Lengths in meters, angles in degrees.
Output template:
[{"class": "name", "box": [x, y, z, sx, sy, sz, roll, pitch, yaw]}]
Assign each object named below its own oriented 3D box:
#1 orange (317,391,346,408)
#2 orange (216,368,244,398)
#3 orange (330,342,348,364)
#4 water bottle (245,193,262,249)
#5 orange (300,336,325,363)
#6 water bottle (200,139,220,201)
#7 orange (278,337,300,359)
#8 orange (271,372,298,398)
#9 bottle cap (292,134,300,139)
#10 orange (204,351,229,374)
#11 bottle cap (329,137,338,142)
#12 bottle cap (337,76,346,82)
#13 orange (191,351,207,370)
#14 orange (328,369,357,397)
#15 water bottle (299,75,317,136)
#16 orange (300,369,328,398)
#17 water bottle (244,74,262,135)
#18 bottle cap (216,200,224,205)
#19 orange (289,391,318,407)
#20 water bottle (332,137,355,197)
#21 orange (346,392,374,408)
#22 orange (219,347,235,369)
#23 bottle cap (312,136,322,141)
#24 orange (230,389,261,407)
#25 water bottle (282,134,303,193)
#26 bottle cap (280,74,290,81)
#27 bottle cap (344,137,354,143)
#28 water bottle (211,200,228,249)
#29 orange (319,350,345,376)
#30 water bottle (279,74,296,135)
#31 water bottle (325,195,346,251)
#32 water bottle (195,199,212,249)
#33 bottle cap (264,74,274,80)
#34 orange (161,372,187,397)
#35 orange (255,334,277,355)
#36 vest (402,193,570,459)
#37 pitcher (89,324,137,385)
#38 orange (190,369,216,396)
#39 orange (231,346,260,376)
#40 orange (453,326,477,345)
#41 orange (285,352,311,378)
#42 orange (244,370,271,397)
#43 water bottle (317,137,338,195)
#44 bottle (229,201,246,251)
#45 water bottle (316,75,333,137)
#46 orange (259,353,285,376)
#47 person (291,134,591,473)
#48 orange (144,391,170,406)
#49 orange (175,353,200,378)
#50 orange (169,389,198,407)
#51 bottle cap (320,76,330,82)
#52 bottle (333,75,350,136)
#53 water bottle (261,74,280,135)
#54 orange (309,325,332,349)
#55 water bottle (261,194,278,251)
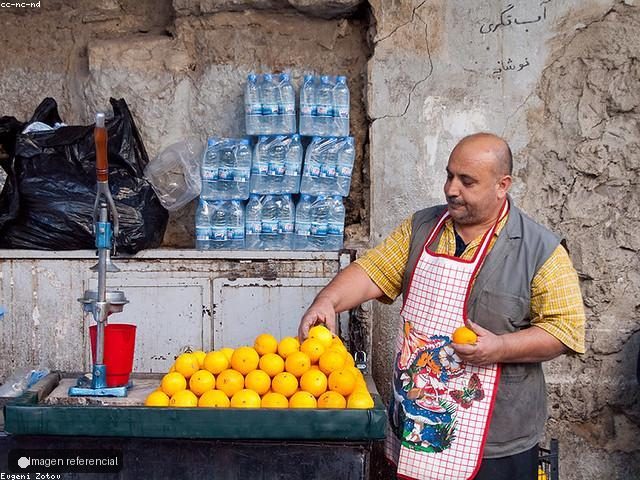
[{"class": "orange", "box": [0.058, 0.740, 4.108, 0.089, 0.087, 0.084, -20, 11, -37]}, {"class": "orange", "box": [-0.432, 0.662, 4.171, 0.088, 0.086, 0.087, -5, -7, 33]}, {"class": "orange", "box": [0.114, 0.564, 4.315, 0.087, 0.102, 0.086, -5, 1, -24]}, {"class": "water bottle", "box": [-0.445, -0.133, 5.868, 0.118, 0.374, 0.064, 2, 0, -5]}, {"class": "orange", "box": [-0.029, 0.533, 4.301, 0.128, 0.111, 0.115, -2, -38, 31]}, {"class": "water bottle", "box": [-0.745, -0.478, 5.885, 0.124, 0.415, 0.101, 2, 0, -7]}, {"class": "orange", "box": [-0.155, 0.534, 4.257, 0.094, 0.102, 0.086, 8, -6, -26]}, {"class": "orange", "box": [-0.166, 0.689, 4.133, 0.111, 0.106, 0.105, 2, 29, 1]}, {"class": "bottle cap", "box": [-0.160, -0.704, 5.884, 0.046, 0.031, 0.036, 2, 0, -15]}, {"class": "orange", "box": [-0.509, 0.592, 4.260, 0.105, 0.102, 0.103, -5, 11, -22]}, {"class": "bottle cap", "box": [0.094, -0.684, 5.882, 0.040, 0.033, 0.033, 6, -20, -39]}, {"class": "bottle cap", "box": [0.152, -1.097, 5.910, 0.045, 0.027, 0.045, 4, 5, 22]}, {"class": "orange", "box": [-0.584, 0.590, 4.254, 0.073, 0.085, 0.072, -3, -29, -3]}, {"class": "orange", "box": [0.110, 0.674, 4.177, 0.126, 0.116, 0.119, 21, 7, 4]}, {"class": "water bottle", "box": [-0.074, -0.924, 5.940, 0.121, 0.416, 0.168, 2, 0, -1]}, {"class": "orange", "box": [-0.043, 0.679, 4.155, 0.121, 0.121, 0.141, 0, -37, -7]}, {"class": "water bottle", "box": [-0.460, -0.930, 5.997, 0.116, 0.409, 0.214, 2, 0, -9]}, {"class": "bottle cap", "box": [-0.672, -0.253, 5.859, 0.033, 0.022, 0.028, 3, 1, 0]}, {"class": "orange", "box": [-0.074, 0.747, 4.128, 0.086, 0.099, 0.083, 0, -18, -40]}, {"class": "water bottle", "box": [0.189, -0.498, 5.900, 0.189, 0.400, 0.097, 2, 0, -35]}, {"class": "orange", "box": [0.197, 0.755, 4.068, 0.083, 0.080, 0.077, 2, -10, -8]}, {"class": "orange", "box": [-0.455, 0.585, 4.320, 0.084, 0.084, 0.096, 1, 44, -5]}, {"class": "bottle cap", "box": [-0.015, -0.692, 5.887, 0.035, 0.026, 0.035, 1, -12, -1]}, {"class": "orange", "box": [-0.355, 0.750, 4.064, 0.091, 0.091, 0.088, 20, -35, 9]}, {"class": "water bottle", "box": [-0.186, -0.520, 5.911, 0.121, 0.395, 0.096, 2, 0, -9]}, {"class": "bottle cap", "box": [-0.238, -1.115, 5.929, 0.049, 0.035, 0.047, -4, 11, -33]}, {"class": "bottle cap", "box": [0.204, -0.683, 5.886, 0.065, 0.031, 0.053, 2, 0, -20]}, {"class": "water bottle", "box": [-0.672, -0.110, 5.826, 0.115, 0.326, 0.134, 2, 0, -7]}, {"class": "orange", "box": [0.054, 0.590, 4.234, 0.109, 0.122, 0.105, -13, 37, 3]}, {"class": "water bottle", "box": [-0.220, -0.926, 5.917, 0.115, 0.409, 0.089, 2, 0, -3]}, {"class": "water bottle", "box": [0.103, -0.120, 5.811, 0.125, 0.375, 0.222, 2, 0, 1]}, {"class": "water bottle", "box": [-0.781, -0.111, 5.820, 0.131, 0.330, 0.148, 2, 0, 15]}, {"class": "bottle cap", "box": [-0.348, -1.120, 5.965, 0.045, 0.033, 0.044, -6, 10, -43]}, {"class": "orange", "box": [-0.696, 0.683, 4.186, 0.111, 0.102, 0.107, -6, 32, -38]}, {"class": "orange", "box": [-0.266, 0.517, 4.316, 0.098, 0.097, 0.094, 7, 18, 12]}, {"class": "vest", "box": [0.806, 0.397, 4.588, 0.740, 1.466, 0.815, 11, 9, 33]}, {"class": "pitcher", "box": [-1.009, 0.556, 4.264, 0.204, 0.299, 0.211, 1, -2, -7]}, {"class": "orange", "box": [-0.559, 0.684, 4.190, 0.121, 0.118, 0.113, -2, 6, 5]}, {"class": "orange", "box": [-0.357, 0.580, 4.264, 0.132, 0.130, 0.131, -17, -14, -4]}, {"class": "orange", "box": [0.712, 0.473, 4.312, 0.086, 0.101, 0.084, 1, -27, -30]}, {"class": "orange", "box": [-0.106, 0.599, 4.245, 0.131, 0.113, 0.112, -13, 15, 46]}, {"class": "orange", "box": [-0.291, 0.679, 4.194, 0.115, 0.113, 0.113, -28, -26, -12]}, {"class": "water bottle", "box": [0.061, -0.494, 5.933, 0.115, 0.434, 0.128, 5, 2, -41]}, {"class": "bottle", "box": [-0.553, -0.105, 5.866, 0.117, 0.327, 0.101, 2, 0, -8]}, {"class": "water bottle", "box": [0.030, -0.907, 5.897, 0.111, 0.418, 0.126, 2, 0, -1]}, {"class": "orange", "box": [-0.230, 0.603, 4.191, 0.104, 0.071, 0.099, -2, 10, -29]}, {"class": "person", "box": [0.707, 0.327, 4.477, 1.267, 1.747, 0.502, 2, 0, 13]}, {"class": "orange", "box": [-0.762, 0.752, 4.081, 0.084, 0.069, 0.071, 3, 28, -5]}, {"class": "orange", "box": [-0.639, 0.603, 4.190, 0.108, 0.104, 0.104, 4, -26, -42]}, {"class": "orange", "box": [-0.625, 0.752, 4.076, 0.087, 0.085, 0.082, -2, -14, -15]}, {"class": "bottle cap", "box": [0.037, -1.096, 5.893, 0.042, 0.025, 0.042, 4, 7, 22]}, {"class": "bottle", "box": [0.150, -0.934, 5.949, 0.117, 0.424, 0.287, 2, 0, 2]}, {"class": "water bottle", "box": [-0.331, -0.925, 5.908, 0.124, 0.408, 0.091, 2, 0, -4]}, {"class": "orange", "box": [0.012, 0.473, 4.322, 0.099, 0.116, 0.099, -9, -24, -27]}, {"class": "water bottle", "box": [-0.339, -0.107, 5.874, 0.117, 0.363, 0.070, 2, 0, -3]}]
